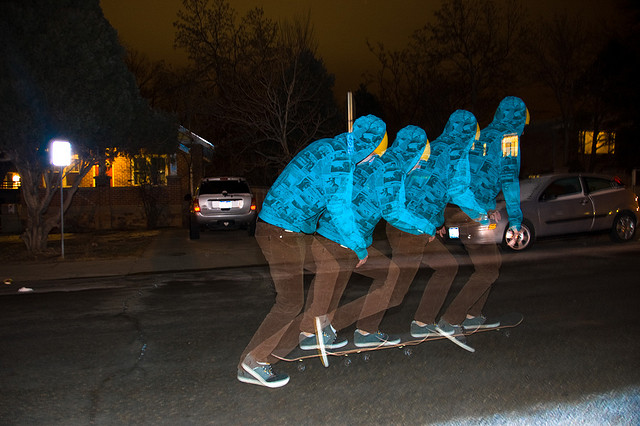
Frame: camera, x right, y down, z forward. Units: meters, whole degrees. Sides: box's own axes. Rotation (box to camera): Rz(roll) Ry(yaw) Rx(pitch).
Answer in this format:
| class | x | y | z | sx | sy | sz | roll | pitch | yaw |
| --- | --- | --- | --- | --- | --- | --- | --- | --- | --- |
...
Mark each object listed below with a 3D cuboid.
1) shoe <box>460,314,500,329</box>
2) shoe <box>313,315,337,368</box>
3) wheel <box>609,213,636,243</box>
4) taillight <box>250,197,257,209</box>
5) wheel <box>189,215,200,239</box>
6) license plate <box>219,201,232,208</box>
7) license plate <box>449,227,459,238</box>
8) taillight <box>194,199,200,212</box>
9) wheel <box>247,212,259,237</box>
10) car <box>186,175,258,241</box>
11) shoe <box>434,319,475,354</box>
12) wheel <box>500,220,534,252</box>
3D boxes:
| class | x | y | z | sx | sy | sz | roll | pitch | yaw |
| --- | --- | --- | --- | --- | --- | --- | --- | --- | --- |
| shoe | 2.263 | 1.557 | 6.347 | 0.574 | 0.202 | 0.220 | -4 | 5 | -11 |
| shoe | 0.046 | 1.526 | 5.519 | 0.264 | 0.602 | 0.523 | -1 | 5 | 2 |
| wheel | 8.973 | 0.418 | 13.238 | 0.745 | 0.862 | 0.280 | -1 | 1 | -10 |
| taillight | -2.537 | -0.379 | 16.860 | 0.185 | 0.430 | 0.536 | -1 | 5 | 1 |
| wheel | -4.774 | 0.531 | 16.860 | 0.294 | 0.940 | 0.515 | -3 | 5 | -21 |
| license plate | -3.526 | -0.314 | 16.441 | 0.272 | 0.289 | 0.070 | 4 | -3 | -2 |
| license plate | 3.460 | 0.517 | 11.488 | 0.051 | 0.242 | 0.216 | -1 | 4 | -40 |
| taillight | -4.625 | -0.280 | 16.547 | 0.100 | 0.437 | 0.323 | -6 | 7 | -43 |
| wheel | -2.178 | 0.313 | 14.208 | 0.242 | 0.864 | 0.800 | 0 | 6 | -1 |
| car | -3.705 | -0.335 | 16.648 | 1.658 | 1.722 | 3.135 | 0 | 6 | -10 |
| shoe | 1.795 | 1.629 | 5.972 | 0.614 | 0.276 | 0.215 | 38 | -2 | 19 |
| wheel | 4.979 | 0.588 | 11.347 | 0.721 | 0.832 | 0.254 | -3 | 4 | -14 |
